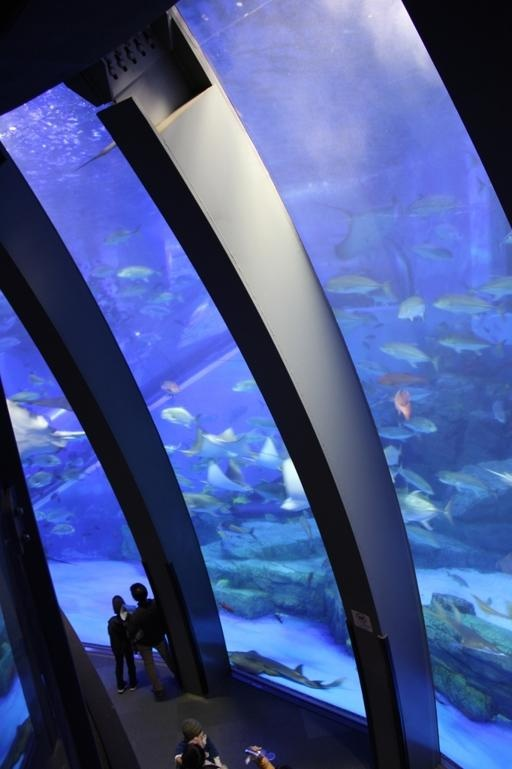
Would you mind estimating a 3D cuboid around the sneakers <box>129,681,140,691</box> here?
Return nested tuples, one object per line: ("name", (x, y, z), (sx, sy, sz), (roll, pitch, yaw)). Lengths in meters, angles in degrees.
("sneakers", (-1.459, 3.610, 7.356), (0.054, 0.063, 0.149), (0, -1, 8))

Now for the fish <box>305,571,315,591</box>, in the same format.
("fish", (0.614, 2.243, 6.927), (0.115, 0.261, 0.037), (0, 8, 39))

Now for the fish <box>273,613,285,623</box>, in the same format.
("fish", (0.267, 2.761, 7.267), (0.132, 0.117, 0.017), (0, 8, 42))

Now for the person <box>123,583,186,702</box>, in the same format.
("person", (-1.224, 2.951, 7.147), (0.476, 1.392, 0.422), (-7, 6, -15))

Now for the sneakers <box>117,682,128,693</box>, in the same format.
("sneakers", (-1.587, 3.581, 7.313), (0.066, 0.124, 0.184), (-1, 8, 7))

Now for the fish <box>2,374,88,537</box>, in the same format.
("fish", (-2.773, 1.039, 8.310), (1.036, 1.906, 0.348), (-3, 7, 19))
